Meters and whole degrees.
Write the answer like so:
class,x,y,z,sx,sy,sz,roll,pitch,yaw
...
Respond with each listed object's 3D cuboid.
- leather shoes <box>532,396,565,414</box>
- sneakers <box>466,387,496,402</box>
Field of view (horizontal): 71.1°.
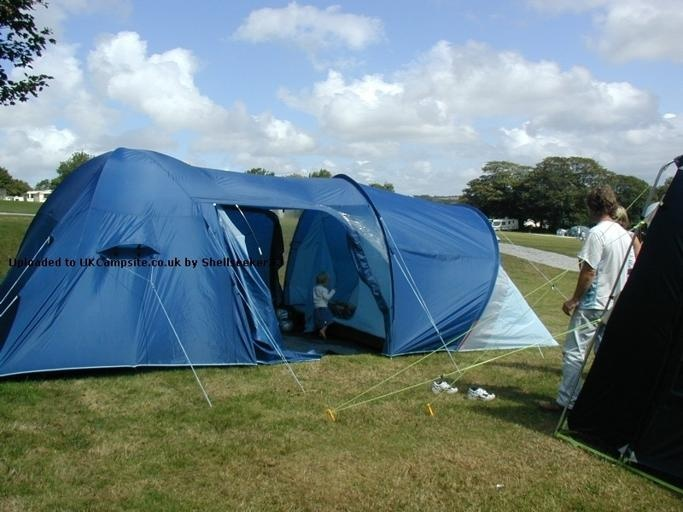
class,x,y,z,sx,sy,sz,roll,pitch,yaw
leather shoes,2.639,1.907,6.095,0.126,0.160,0.377,-1,9,-23
sneakers,1.845,1.827,6.324,0.265,0.113,0.166,-1,3,2
